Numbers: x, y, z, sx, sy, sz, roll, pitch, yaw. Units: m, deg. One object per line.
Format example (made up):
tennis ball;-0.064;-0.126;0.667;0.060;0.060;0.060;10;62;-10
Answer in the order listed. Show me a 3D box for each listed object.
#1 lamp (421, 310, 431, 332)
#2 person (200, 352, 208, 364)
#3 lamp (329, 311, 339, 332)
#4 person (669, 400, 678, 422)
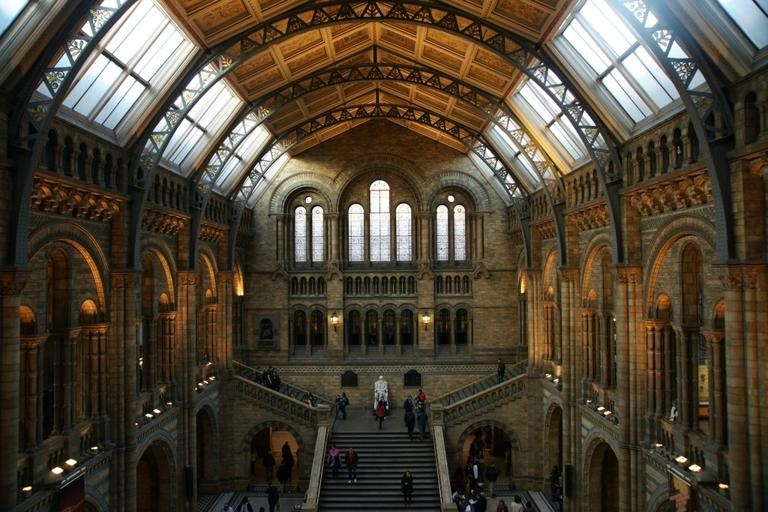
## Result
lamp;2.846;4.346;38.814;0.754;1.280;0.395;0;-14;3
person;-9.851;5.616;31.911;0.274;0.630;1.341;3;-14;-10
lamp;-3.285;4.393;38.781;0.713;1.286;0.318;3;-14;-9
person;10.571;5.632;21.019;0.352;0.766;1.220;-6;-15;24
